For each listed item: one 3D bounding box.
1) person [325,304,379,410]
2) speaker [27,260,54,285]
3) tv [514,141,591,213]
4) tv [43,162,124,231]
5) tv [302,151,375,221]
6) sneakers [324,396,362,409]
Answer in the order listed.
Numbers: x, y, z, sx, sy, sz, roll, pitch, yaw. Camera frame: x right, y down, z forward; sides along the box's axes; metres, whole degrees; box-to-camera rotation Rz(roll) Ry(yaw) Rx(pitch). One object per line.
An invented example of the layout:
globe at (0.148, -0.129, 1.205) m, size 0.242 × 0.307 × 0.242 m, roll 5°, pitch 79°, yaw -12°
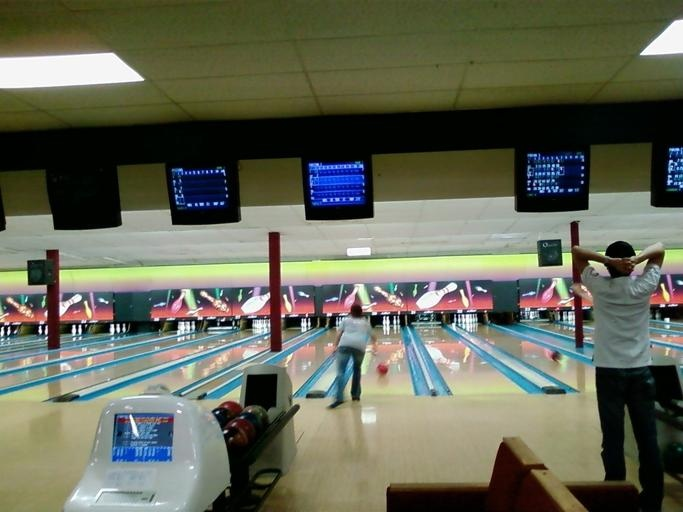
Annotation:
person at (0.155, 0.995, 5.453) m, size 0.441 × 0.996 × 0.405 m, roll 16°, pitch -27°, yaw -24°
speaker at (-5.093, 0.277, 9.281) m, size 0.423 × 0.416 × 0.232 m, roll 0°, pitch -3°, yaw 7°
tv at (1.574, -0.591, 4.064) m, size 0.519 × 0.452 × 0.173 m, roll 0°, pitch 1°, yaw 1°
tv at (-2.060, -0.478, 4.395) m, size 0.491 × 0.555 × 0.526 m, roll -4°, pitch 1°, yaw 40°
tv at (-0.027, -0.567, 4.285) m, size 0.644 × 0.554 × 0.329 m, roll -3°, pitch 11°, yaw -7°
sneakers at (0.038, 1.391, 5.258) m, size 0.097 × 0.073 × 0.431 m, roll -2°, pitch 1°, yaw 40°
